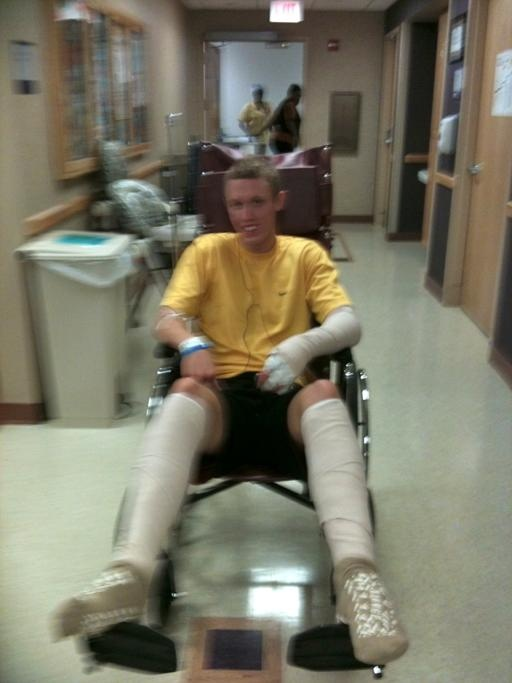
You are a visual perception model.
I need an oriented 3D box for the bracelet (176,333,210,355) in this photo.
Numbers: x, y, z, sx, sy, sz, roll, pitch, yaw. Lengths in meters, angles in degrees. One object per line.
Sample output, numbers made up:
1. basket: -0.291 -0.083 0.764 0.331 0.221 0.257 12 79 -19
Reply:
1. bracelet: -0.092 0.005 0.804 0.032 0.012 0.033 -17 12 -35
